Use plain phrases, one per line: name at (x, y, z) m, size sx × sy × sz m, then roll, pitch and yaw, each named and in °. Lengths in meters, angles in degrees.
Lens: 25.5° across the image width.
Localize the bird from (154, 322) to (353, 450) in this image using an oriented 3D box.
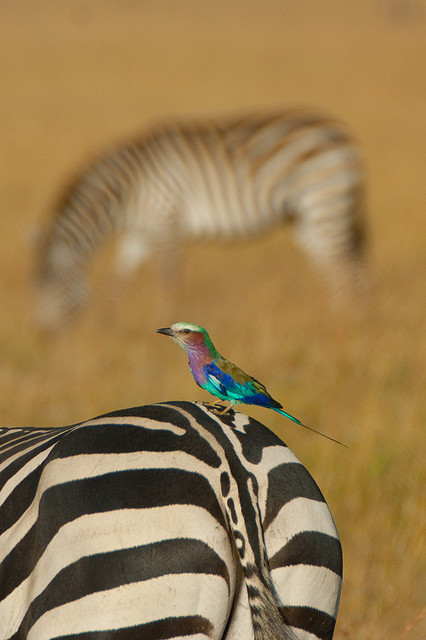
bird at (0.061, 0.102, 1.627) m, size 0.343 × 0.086 × 0.153 m, roll 8°, pitch 91°, yaw -18°
